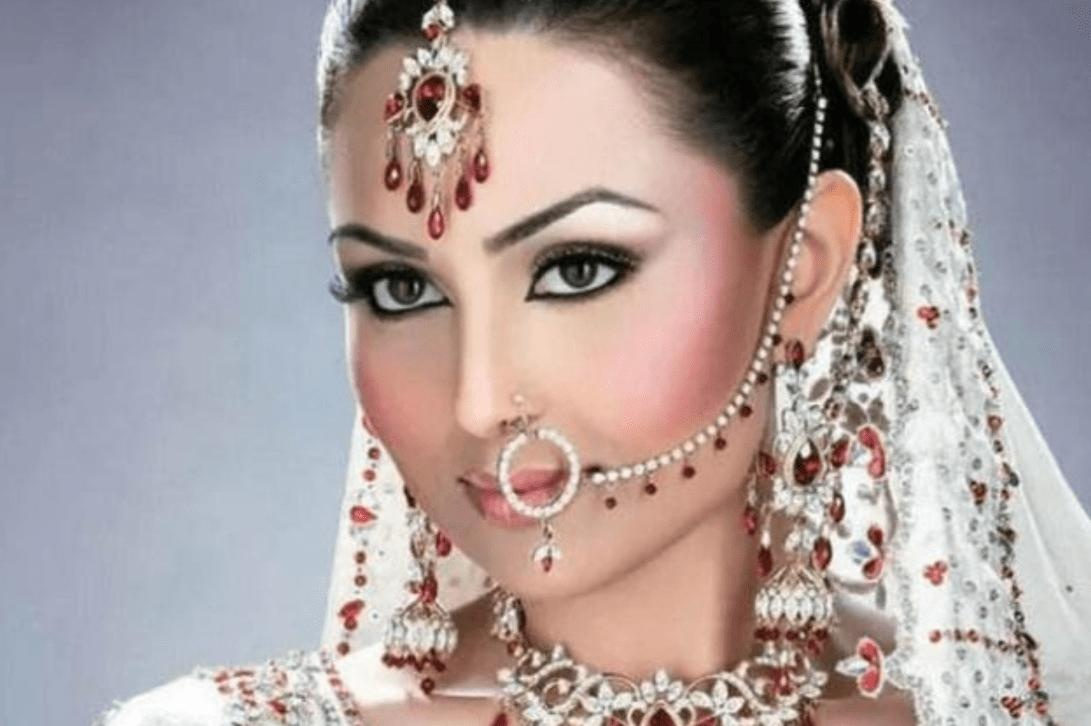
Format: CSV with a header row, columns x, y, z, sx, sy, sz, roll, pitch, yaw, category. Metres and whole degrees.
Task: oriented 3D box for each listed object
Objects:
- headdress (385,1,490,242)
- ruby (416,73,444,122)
x,y,z,sx,sy,sz,roll,pitch,yaw,category
-0.271,-0.571,4.308,0.260,0.548,0.138,-12,-20,30,headdress
-0.273,-0.626,4.286,0.076,0.103,0.023,6,-6,21,ruby
